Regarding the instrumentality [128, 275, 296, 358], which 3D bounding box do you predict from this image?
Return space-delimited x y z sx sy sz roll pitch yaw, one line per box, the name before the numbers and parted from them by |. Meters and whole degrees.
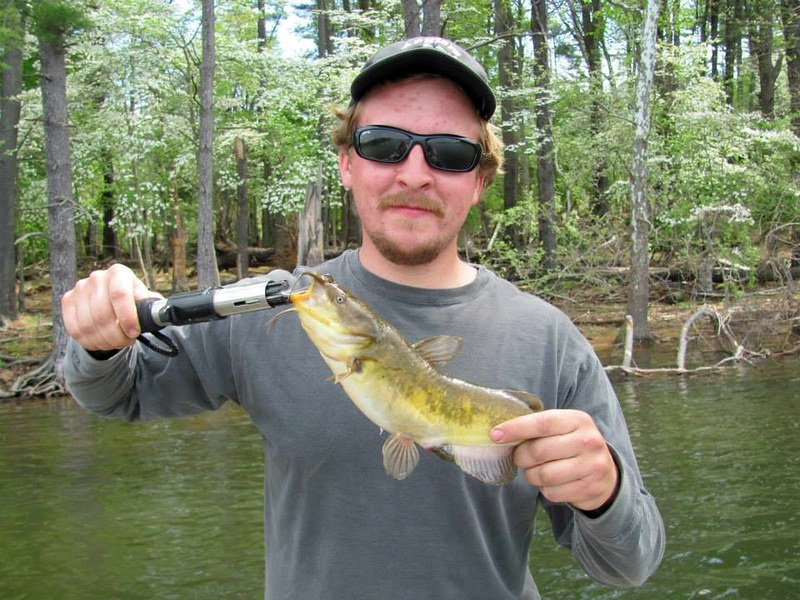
instrumentality | -1.281 0.124 5.097 1.361 0.408 0.375 -8 2 28
